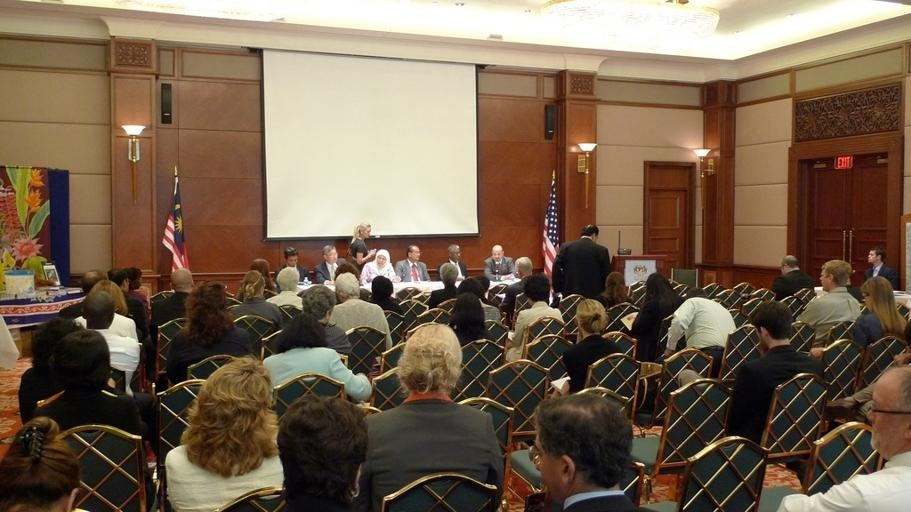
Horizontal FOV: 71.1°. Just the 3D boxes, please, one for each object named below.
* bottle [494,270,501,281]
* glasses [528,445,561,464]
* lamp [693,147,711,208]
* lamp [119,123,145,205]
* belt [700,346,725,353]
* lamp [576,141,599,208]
[{"bbox_3d":[0.753,0.371,11.740,0.132,0.229,0.140,-1,-1,0],"label":"bottle"},{"bbox_3d":[0.580,1.300,4.142,0.161,0.057,0.154,16,-6,-27],"label":"glasses"},{"bbox_3d":[5.575,-1.763,14.436,0.385,1.275,0.185,2,4,20],"label":"lamp"},{"bbox_3d":[-5.667,-1.641,11.202,0.402,1.315,0.197,-1,4,-14],"label":"lamp"},{"bbox_3d":[2.795,1.017,6.954,0.128,0.031,0.131,-1,-2,-17],"label":"belt"},{"bbox_3d":[2.685,-1.677,13.314,0.344,1.352,0.214,0,4,2],"label":"lamp"}]
